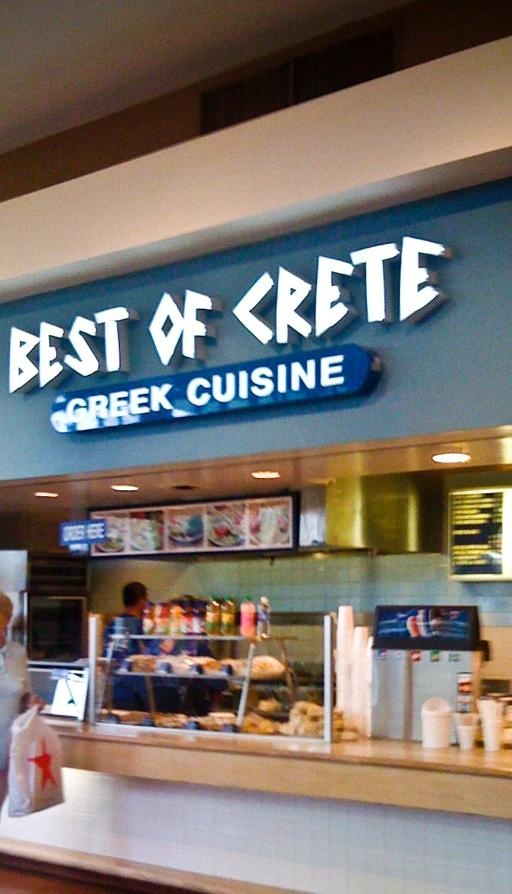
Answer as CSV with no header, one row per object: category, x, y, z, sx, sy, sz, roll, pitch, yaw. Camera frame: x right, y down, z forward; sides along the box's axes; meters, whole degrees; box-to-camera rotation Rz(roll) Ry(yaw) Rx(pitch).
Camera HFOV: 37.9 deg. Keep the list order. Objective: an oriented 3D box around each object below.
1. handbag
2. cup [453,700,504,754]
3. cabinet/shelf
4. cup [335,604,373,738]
handbag,-0.950,1.358,3.242,0.240,0.447,0.196,3,-10,-22
cup,0.886,1.094,2.931,0.203,0.209,0.156,-3,-12,31
cabinet/shelf,-0.293,1.085,3.424,1.070,0.406,0.138,-8,-12,34
cup,0.422,0.967,3.208,0.153,0.526,0.203,-3,-10,11
